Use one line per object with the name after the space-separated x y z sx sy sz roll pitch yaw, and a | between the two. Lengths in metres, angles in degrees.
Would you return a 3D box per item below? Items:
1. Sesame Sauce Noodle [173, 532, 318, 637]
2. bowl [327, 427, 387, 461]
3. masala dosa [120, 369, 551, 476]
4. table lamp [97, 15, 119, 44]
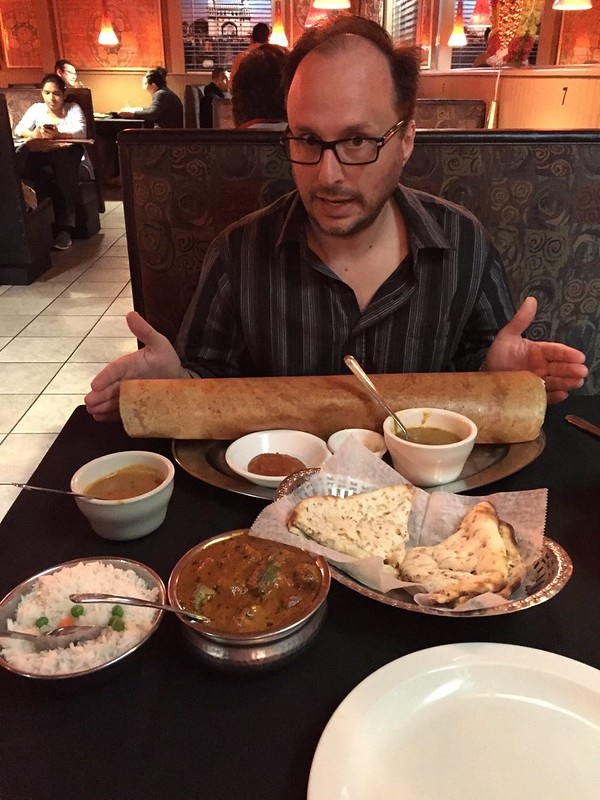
-0.057 0.195 0.687 0.138 0.061 0.132 1 15 -3 | Sesame Sauce Noodle
0.096 0.075 1.091 0.069 0.025 0.064 4 32 -2 | bowl
0.061 0.020 1.232 0.821 0.165 0.147 1 42 1 | masala dosa
-2.907 -5.662 9.436 0.313 0.308 0.307 17 42 23 | table lamp
